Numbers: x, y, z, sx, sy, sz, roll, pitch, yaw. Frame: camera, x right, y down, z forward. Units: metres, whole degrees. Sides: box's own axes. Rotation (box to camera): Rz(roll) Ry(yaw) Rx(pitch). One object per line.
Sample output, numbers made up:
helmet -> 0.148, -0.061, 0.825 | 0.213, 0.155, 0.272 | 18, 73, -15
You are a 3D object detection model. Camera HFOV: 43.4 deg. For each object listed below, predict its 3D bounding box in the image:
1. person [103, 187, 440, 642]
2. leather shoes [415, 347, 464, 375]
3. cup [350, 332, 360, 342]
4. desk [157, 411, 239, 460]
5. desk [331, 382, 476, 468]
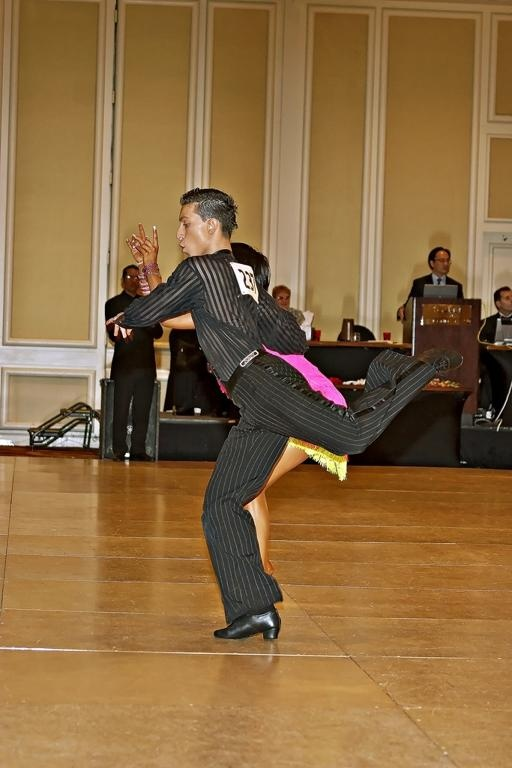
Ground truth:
person -> 0.021, 0.073, 1.584 | 0.783, 1.143, 0.295 | 2, -2, 15
leather shoes -> 0.451, -0.056, 1.551 | 0.147, 0.048, 0.057 | -5, 13, -36
cup -> 1.063, -0.514, 6.987 | 0.124, 0.122, 0.226 | 1, 5, 4
desk -> -0.569, 0.484, 5.787 | 0.729, 0.440, 0.384 | 1, 10, 1
desk -> 1.367, 0.388, 6.227 | 0.945, 0.829, 0.875 | 0, 0, -7
